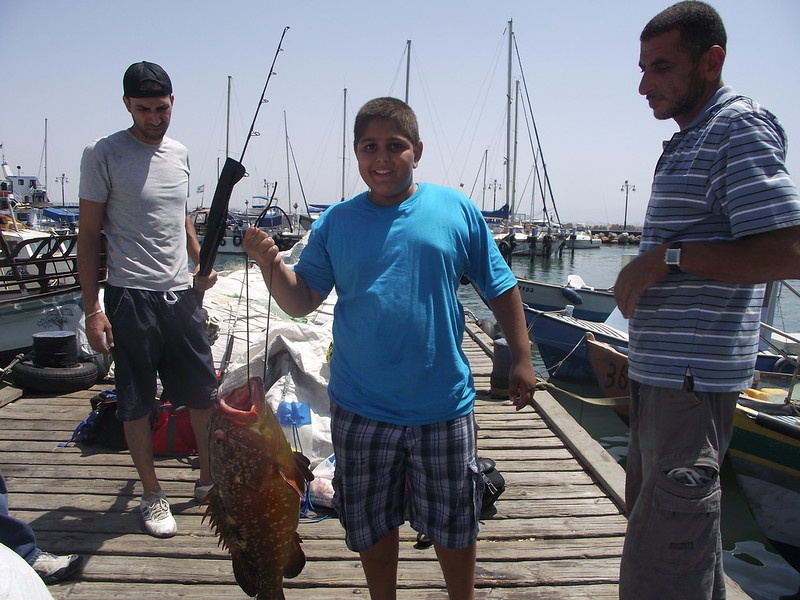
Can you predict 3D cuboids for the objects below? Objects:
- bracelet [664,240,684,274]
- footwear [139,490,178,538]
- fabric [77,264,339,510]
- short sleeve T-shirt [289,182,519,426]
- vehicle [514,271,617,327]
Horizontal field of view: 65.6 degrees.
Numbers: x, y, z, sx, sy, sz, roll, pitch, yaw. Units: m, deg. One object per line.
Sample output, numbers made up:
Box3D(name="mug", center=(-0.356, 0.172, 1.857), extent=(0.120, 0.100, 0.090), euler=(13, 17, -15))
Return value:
Box3D(name="bracelet", center=(1.202, -0.174, 2.727), extent=(0.075, 0.127, 0.110), euler=(8, 5, 33))
Box3D(name="footwear", center=(-1.474, 1.277, 3.782), extent=(0.127, 0.156, 0.327), euler=(0, 6, -39))
Box3D(name="fabric", center=(-1.170, 0.486, 6.200), extent=(1.874, 0.970, 2.832), euler=(1, 17, -1))
Box3D(name="short sleeve T-shirt", center=(-0.001, 0.016, 2.952), extent=(0.998, 1.070, 0.371), euler=(2, 5, 11))
Box3D(name="vehicle", center=(3.524, 0.000, 13.086), extent=(0.609, 0.593, 2.316), euler=(17, 10, -31))
